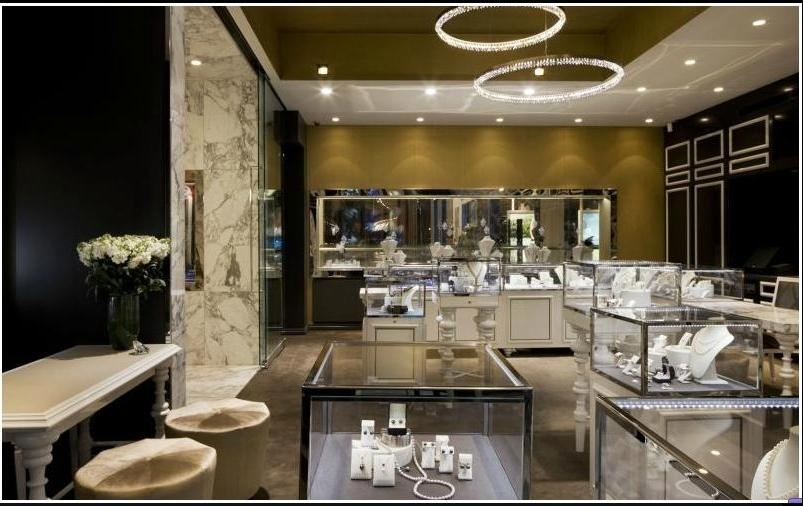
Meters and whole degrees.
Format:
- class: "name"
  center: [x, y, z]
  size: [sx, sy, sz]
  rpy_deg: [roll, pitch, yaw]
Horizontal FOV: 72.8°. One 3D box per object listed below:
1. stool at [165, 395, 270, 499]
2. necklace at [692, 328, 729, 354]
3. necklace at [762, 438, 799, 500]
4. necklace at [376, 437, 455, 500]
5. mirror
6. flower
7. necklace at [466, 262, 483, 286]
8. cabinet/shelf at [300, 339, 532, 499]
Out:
- class: "stool"
  center: [-1.465, 1.557, 4.607]
  size: [0.821, 0.640, 0.786]
  rpy_deg: [2, 1, 10]
- class: "necklace"
  center: [2.301, 0.662, 4.047]
  size: [0.113, 0.180, 0.180]
  rpy_deg: [27, -15, -29]
- class: "necklace"
  center: [2.175, 1.251, 3.125]
  size: [0.151, 0.339, 0.200]
  rpy_deg: [1, 1, 33]
- class: "necklace"
  center: [0.138, 1.522, 3.784]
  size: [0.255, 0.055, 0.717]
  rpy_deg: [-2, 10, -19]
- class: "mirror"
  center: [1.060, -0.430, 9.666]
  size: [5.286, 1.417, 0.211]
  rpy_deg: [1, 1, 0]
- class: "flower"
  center: [-2.211, 0.319, 5.007]
  size: [1.038, 1.048, 0.929]
  rpy_deg: [1, 1, -17]
- class: "necklace"
  center: [0.849, 0.245, 6.341]
  size: [0.302, 0.317, 0.035]
  rpy_deg: [1, 0, 8]
- class: "cabinet/shelf"
  center: [0.011, 1.074, 4.244]
  size: [1.273, 0.704, 1.208]
  rpy_deg: [2, 2, 0]
